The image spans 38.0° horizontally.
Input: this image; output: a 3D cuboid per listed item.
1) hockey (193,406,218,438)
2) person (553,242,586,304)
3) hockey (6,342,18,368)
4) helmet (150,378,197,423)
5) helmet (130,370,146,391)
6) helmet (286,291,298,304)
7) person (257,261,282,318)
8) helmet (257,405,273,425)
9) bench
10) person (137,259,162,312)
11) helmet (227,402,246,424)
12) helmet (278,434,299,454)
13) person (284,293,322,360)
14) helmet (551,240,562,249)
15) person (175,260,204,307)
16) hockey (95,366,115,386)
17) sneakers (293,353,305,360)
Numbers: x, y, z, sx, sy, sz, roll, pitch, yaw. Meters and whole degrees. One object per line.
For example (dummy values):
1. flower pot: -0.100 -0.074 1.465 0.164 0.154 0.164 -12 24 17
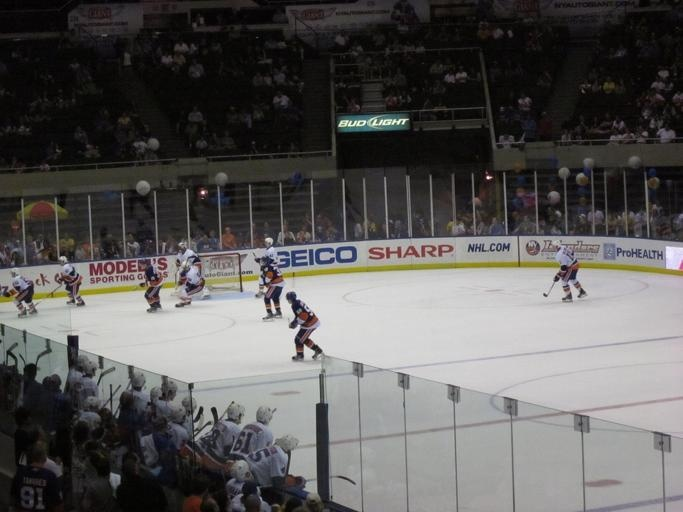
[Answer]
1. hockey: -2.079 2.552 15.245 0.396 0.439 0.182 -2 10 -8
2. person: 6.145 0.344 26.604 0.829 1.479 2.097 2 10 14
3. hockey: -5.863 1.751 17.690 0.105 0.381 0.378 1 6 11
4. helmet: -2.639 2.241 15.412 0.682 0.585 0.492 -4 13 -23
5. helmet: -3.189 1.950 15.730 0.248 0.291 0.289 1 17 -5
6. helmet: -1.078 0.861 20.476 0.286 0.263 0.228 2 12 10
7. person: -1.774 0.760 25.199 0.588 1.611 1.500 -1 10 -5
8. helmet: -1.189 2.449 15.339 0.287 0.231 0.208 1 0 -43
9. bench: -4.818 -1.261 31.104 10.212 2.074 0.624 -3 10 -16
10. person: -5.106 0.785 26.841 0.440 1.357 0.743 -3 10 -14
11. helmet: -1.617 2.389 15.397 0.243 0.298 0.299 9 22 10
12. helmet: -0.857 2.907 15.437 0.317 0.242 0.149 -3 10 -16
13. person: -0.877 1.602 21.976 0.742 1.510 0.644 -8 32 -4
14. helmet: 6.125 -0.343 28.310 0.249 0.312 0.308 -4 52 7
15. person: -4.249 0.733 27.354 0.911 1.379 0.670 13 28 10
16. hockey: -3.847 1.952 16.243 0.304 0.298 0.081 -10 -2 18
17. sneakers: -0.908 2.100 20.804 0.110 0.162 0.232 -8 16 -39
